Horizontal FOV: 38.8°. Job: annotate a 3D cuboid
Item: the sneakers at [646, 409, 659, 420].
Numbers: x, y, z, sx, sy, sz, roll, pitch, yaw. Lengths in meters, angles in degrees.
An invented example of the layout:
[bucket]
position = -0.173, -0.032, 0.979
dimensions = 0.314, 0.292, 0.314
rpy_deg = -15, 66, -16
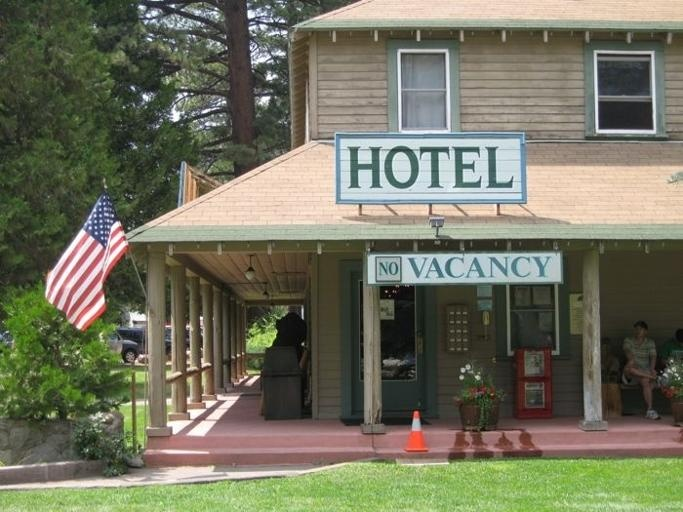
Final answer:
[sneakers]
position = 6.235, 3.207, 19.576
dimensions = 0.136, 0.135, 0.294
rpy_deg = -1, -11, 0

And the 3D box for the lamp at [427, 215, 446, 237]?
[lamp]
position = 1.712, -0.554, 17.702
dimensions = 0.259, 0.367, 0.350
rpy_deg = 1, -1, 4

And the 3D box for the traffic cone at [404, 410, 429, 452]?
[traffic cone]
position = 1.312, 3.219, 17.712
dimensions = 0.431, 0.726, 0.450
rpy_deg = -6, -11, 28

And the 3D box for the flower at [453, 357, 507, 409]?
[flower]
position = 2.656, 2.541, 18.611
dimensions = 0.743, 0.818, 0.644
rpy_deg = -6, -3, 19

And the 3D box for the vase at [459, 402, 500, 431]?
[vase]
position = 2.594, 2.991, 18.318
dimensions = 0.570, 0.371, 0.580
rpy_deg = -1, -7, 5
